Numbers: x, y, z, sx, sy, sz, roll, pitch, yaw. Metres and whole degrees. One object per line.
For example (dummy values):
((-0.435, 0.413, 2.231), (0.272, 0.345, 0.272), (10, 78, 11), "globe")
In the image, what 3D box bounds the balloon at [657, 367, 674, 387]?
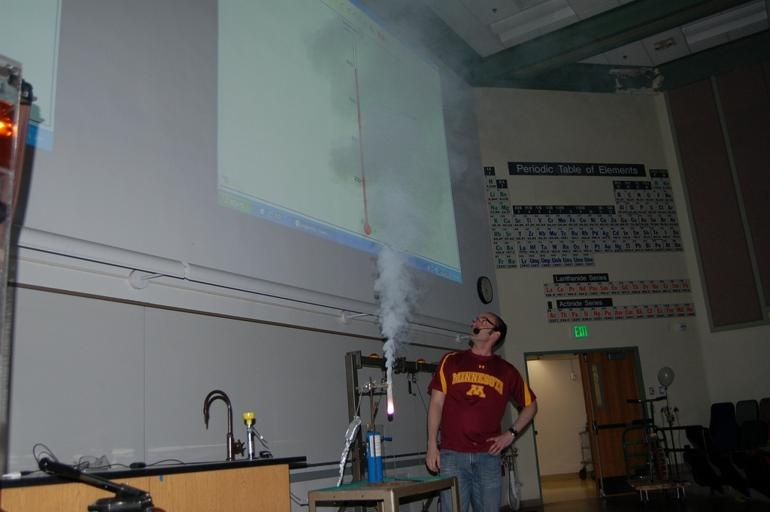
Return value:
((4.111, 1.758, 7.733), (0.236, 0.296, 0.291), (-8, -16, 21), "balloon")

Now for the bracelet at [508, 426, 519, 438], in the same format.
((0.987, 1.343, 4.040), (0.038, 0.099, 0.096), (-35, -11, 4), "bracelet")

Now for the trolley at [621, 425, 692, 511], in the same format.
((3.628, 2.827, 7.048), (0.681, 1.072, 0.681), (3, -29, -8), "trolley")

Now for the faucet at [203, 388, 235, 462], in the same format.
((-1.089, 1.093, 3.481), (0.215, 0.437, 0.194), (3, -15, -17), "faucet")
